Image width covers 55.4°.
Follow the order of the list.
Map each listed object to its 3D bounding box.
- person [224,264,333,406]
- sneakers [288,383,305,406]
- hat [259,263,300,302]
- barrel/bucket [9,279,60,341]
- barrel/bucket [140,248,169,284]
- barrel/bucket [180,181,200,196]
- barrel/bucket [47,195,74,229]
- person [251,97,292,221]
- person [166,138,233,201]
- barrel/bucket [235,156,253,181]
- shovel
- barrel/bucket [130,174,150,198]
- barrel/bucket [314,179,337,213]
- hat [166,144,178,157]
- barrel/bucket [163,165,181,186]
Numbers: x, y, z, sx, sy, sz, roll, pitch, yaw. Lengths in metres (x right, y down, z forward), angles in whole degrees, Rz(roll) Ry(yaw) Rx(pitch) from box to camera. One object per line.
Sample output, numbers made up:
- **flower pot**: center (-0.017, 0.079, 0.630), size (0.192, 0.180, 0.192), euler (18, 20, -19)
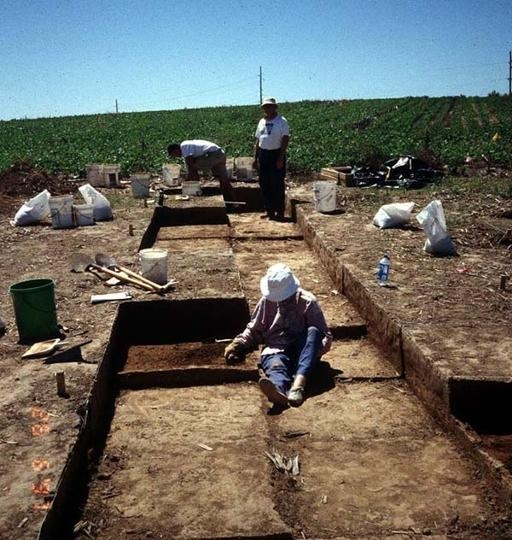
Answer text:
- **person**: center (0.159, 0.511, 3.943), size (0.945, 0.941, 1.290), euler (-6, 11, 10)
- **sneakers**: center (0.300, 0.920, 3.544), size (0.092, 0.064, 0.158), euler (-1, 3, -1)
- **hat**: center (0.195, 0.121, 4.009), size (0.304, 0.324, 0.237), euler (-3, 15, 6)
- **barrel/bucket**: center (-1.683, 0.328, 3.766), size (0.345, 0.413, 0.217), euler (-15, 18, -33)
- **barrel/bucket**: center (-0.994, -0.033, 4.941), size (0.364, 0.345, 0.338), euler (-1, 6, 0)
- **barrel/bucket**: center (-1.254, -1.567, 9.464), size (0.370, 0.282, 0.293), euler (-6, 15, -7)
- **barrel/bucket**: center (-2.781, -0.852, 7.298), size (0.532, 0.520, 0.447), euler (0, 4, 2)
- **person**: center (0.304, -1.831, 8.530), size (0.642, 2.099, 1.352), euler (-5, 15, 2)
- **person**: center (-1.054, -2.005, 9.971), size (1.057, 1.241, 1.722), euler (-5, 14, 0)
- **barrel/bucket**: center (-0.268, -2.326, 11.307), size (0.381, 0.358, 0.609), euler (-1, 41, -2)
- **shovel**: center (-1.452, 0.031, 5.060), size (1.409, 0.141, 0.407), euler (16, 10, 32)
- **barrel/bucket**: center (-2.259, -1.639, 9.574), size (0.371, 0.483, 0.357), euler (-5, 15, 1)
- **barrel/bucket**: center (1.146, -1.245, 8.308), size (0.542, 0.531, 0.493), euler (-3, 15, 1)
- **hat**: center (-1.579, -2.235, 9.191), size (0.203, 0.226, 0.415), euler (-13, 16, -28)
- **barrel/bucket**: center (-1.853, -2.123, 10.954), size (0.565, 0.537, 0.513), euler (-1, 8, 0)
